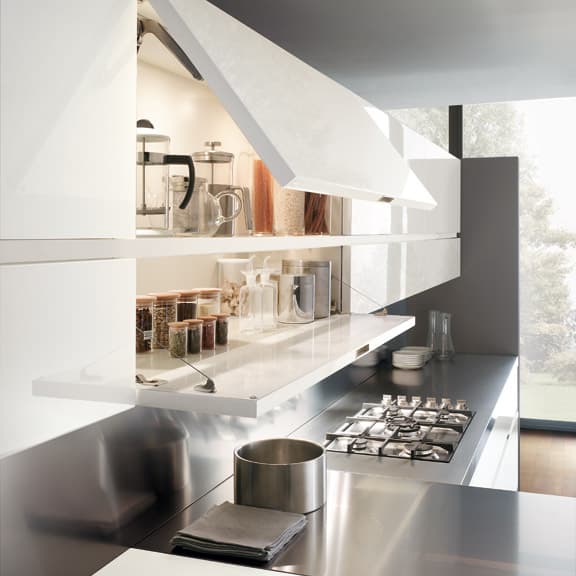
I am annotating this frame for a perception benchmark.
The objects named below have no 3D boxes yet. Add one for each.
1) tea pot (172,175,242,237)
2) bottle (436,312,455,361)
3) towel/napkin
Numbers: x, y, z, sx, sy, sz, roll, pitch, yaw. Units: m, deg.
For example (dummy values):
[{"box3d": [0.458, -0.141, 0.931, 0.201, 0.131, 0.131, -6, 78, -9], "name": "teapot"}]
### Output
[{"box3d": [-0.155, -0.170, 1.105, 0.128, 0.110, 0.077, 2, 2, 7], "name": "tea pot"}, {"box3d": [1.046, 0.320, 3.687, 0.083, 0.307, 0.191, 2, 2, 40], "name": "bottle"}, {"box3d": [-0.104, 0.552, 1.264, 0.214, 0.049, 0.254, 1, 2, 28], "name": "towel/napkin"}]
